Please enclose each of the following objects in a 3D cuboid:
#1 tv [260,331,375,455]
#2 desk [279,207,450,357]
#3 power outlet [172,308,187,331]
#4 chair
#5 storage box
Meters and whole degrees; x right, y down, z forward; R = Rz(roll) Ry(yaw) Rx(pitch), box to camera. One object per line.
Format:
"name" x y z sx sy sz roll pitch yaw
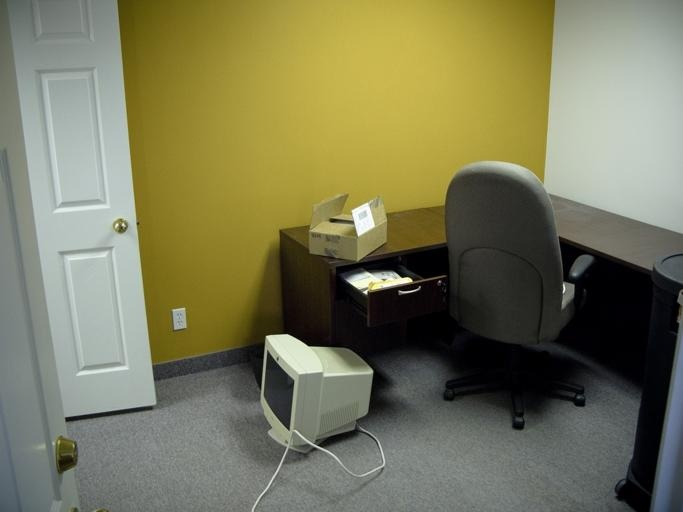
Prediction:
"tv" -0.119 0.579 2.666 0.480 0.496 0.520 -4 15 -23
"desk" 0.119 0.159 2.947 0.954 0.628 0.781 -10 20 -28
"power outlet" -0.931 0.358 3.064 0.107 0.171 0.016 -5 15 -31
"chair" 0.855 0.166 2.628 0.688 1.303 0.426 1 18 13
"storage box" 0.034 -0.162 2.790 0.309 0.275 0.349 7 21 29
